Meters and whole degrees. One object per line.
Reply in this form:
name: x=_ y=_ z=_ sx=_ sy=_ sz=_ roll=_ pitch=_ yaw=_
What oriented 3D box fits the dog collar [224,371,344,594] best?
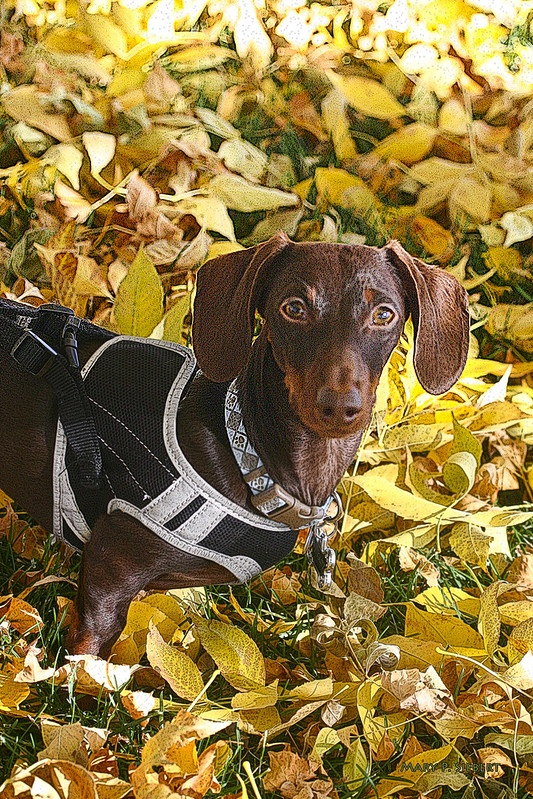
dog collar: x=0.001 y=0.085 z=0.736 sx=0.124 sy=0.204 sz=0.055 roll=-20 pitch=-5 yaw=-40
